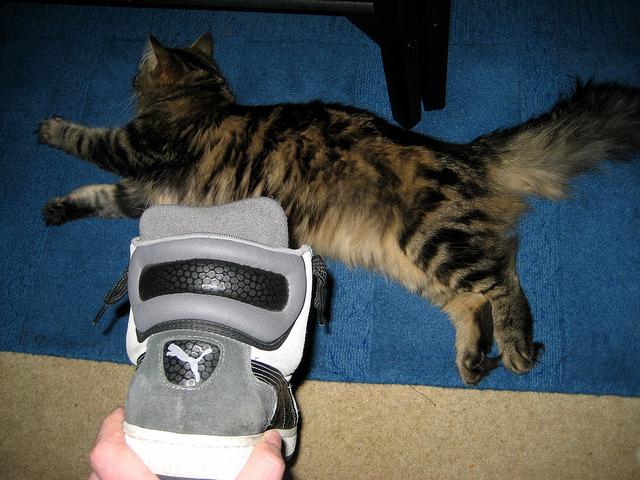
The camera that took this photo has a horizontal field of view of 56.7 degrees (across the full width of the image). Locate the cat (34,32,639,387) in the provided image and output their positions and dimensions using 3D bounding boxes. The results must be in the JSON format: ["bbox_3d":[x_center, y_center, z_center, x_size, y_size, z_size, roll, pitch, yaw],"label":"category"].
[{"bbox_3d":[0.161,-0.087,2.439,2.156,0.637,1.190,24,90,9],"label":"cat"}]
